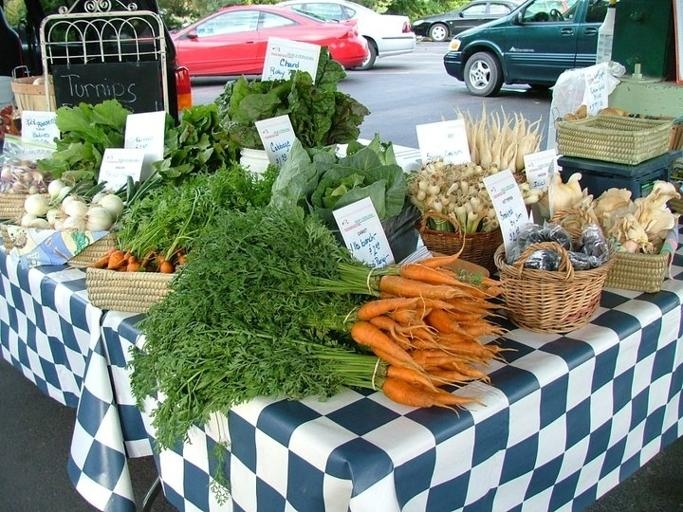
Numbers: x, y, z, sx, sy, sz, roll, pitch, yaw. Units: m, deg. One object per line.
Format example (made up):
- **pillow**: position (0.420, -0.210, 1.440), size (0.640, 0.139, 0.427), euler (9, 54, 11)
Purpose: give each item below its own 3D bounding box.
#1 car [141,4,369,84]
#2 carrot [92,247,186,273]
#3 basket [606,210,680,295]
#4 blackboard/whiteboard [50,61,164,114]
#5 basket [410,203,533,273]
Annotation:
- **car**: position (-0.621, -4.986, 10.874), size (6.511, 1.865, 2.618), euler (2, 22, 1)
- **carrot**: position (-0.806, 0.027, 1.887), size (0.246, 0.056, 0.180), euler (4, 10, 10)
- **basket**: position (1.160, 0.000, 1.959), size (0.344, 0.333, 0.268), euler (0, 11, -25)
- **blackboard/whiteboard**: position (-1.455, -1.050, 2.956), size (0.634, 0.299, 0.089), euler (-3, 18, -3)
- **basket**: position (0.518, -0.120, 2.062), size (0.428, 0.235, 0.396), euler (-8, 17, -28)
